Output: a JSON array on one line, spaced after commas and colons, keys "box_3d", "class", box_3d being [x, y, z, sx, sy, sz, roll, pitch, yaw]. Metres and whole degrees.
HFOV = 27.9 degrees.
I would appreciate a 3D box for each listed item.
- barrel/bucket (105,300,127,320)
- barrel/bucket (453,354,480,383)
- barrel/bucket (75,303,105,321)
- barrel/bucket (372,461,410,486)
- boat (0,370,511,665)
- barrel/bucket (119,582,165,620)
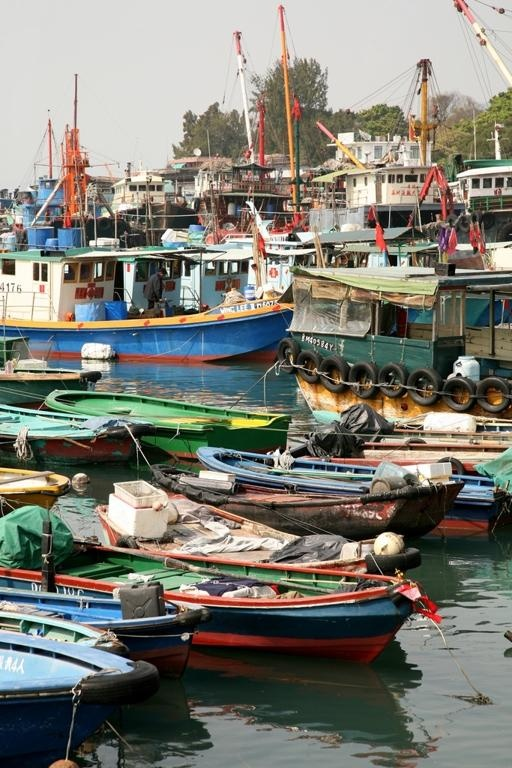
[{"box_3d": [-4.027, -2.096, 29.493, 0.624, 0.559, 0.340, 0, -1, 23], "class": "barrel/bucket"}, {"box_3d": [3.466, -0.239, 17.030, 0.460, 0.468, 0.452, 0, -4, 0], "class": "barrel/bucket"}, {"box_3d": [-4.692, -1.992, 29.089, 0.607, 0.430, 0.592, -1, 3, 0], "class": "barrel/bucket"}, {"box_3d": [1.528, 1.059, 12.050, 0.224, 0.339, 0.364, -13, 14, -26], "class": "barrel/bucket"}, {"box_3d": [0.127, 1.537, 12.084, 4.962, 1.160, 2.748, 2, 4, 4], "class": "boat"}, {"box_3d": [-0.960, 1.842, 8.660, 0.326, 0.303, 0.123, 0, 6, 18], "class": "barrel/bucket"}]
